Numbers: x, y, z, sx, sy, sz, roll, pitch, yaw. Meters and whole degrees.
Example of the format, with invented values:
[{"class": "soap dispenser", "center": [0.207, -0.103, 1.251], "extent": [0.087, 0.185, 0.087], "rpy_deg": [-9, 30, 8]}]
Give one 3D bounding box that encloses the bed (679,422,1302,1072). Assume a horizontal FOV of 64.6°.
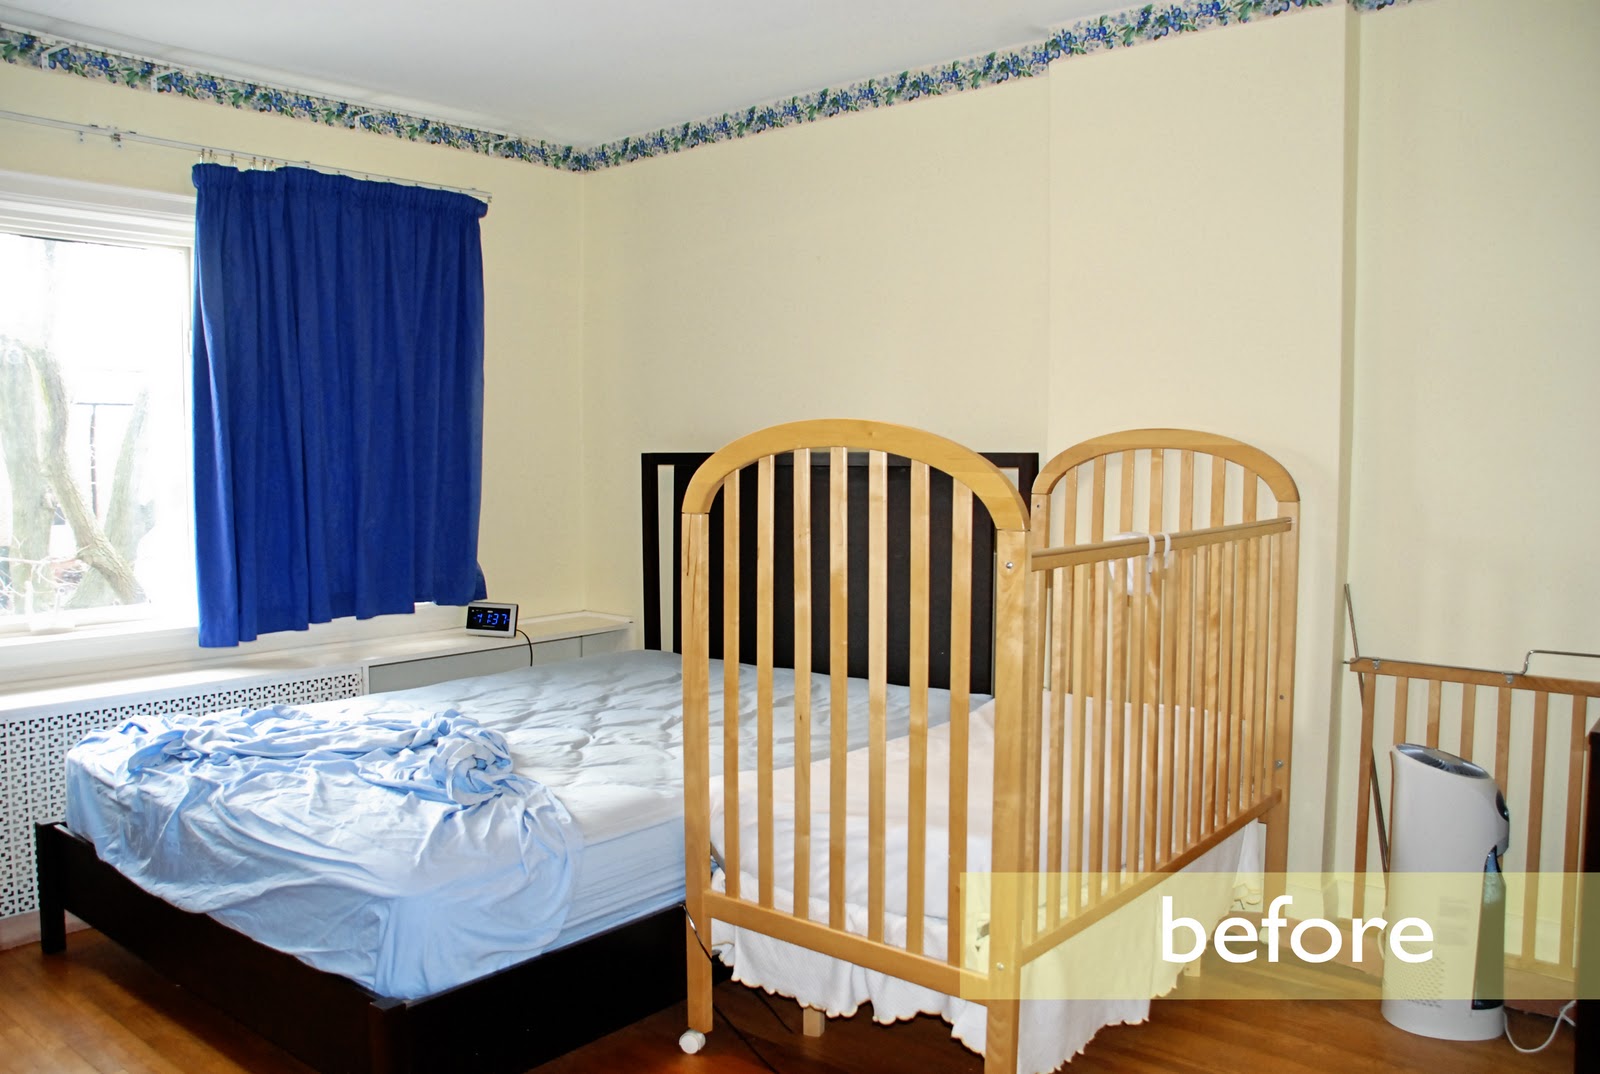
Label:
[{"class": "bed", "center": [0.544, 0.389, 4.278], "extent": [1.250, 1.925, 2.430], "rpy_deg": [5, 8, 37]}]
